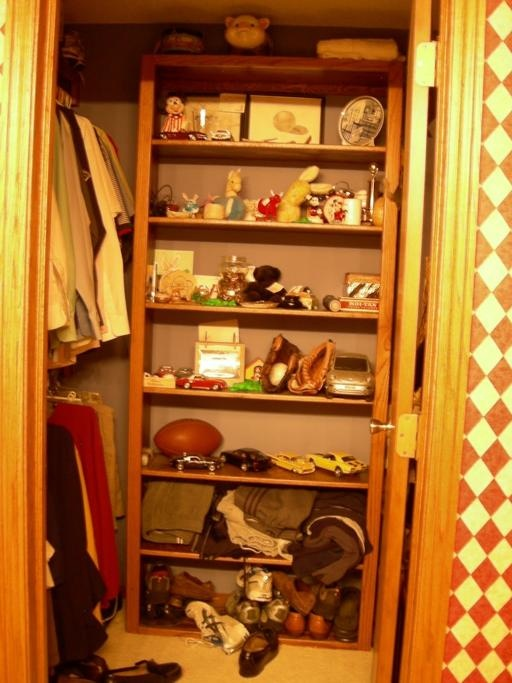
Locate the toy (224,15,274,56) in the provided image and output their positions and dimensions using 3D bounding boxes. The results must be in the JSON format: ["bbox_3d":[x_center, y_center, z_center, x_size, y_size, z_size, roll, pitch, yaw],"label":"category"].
[{"bbox_3d":[-0.036,-1.228,2.375,0.129,0.106,0.191,1,35,0],"label":"toy"}]

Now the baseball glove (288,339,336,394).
[{"bbox_3d":[0.235,0.116,2.464,0.156,0.233,0.082,25,2,40],"label":"baseball glove"}]

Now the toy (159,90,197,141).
[{"bbox_3d":[-0.331,-0.936,2.533,0.146,0.219,0.302,3,4,-11],"label":"toy"}]

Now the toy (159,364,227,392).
[{"bbox_3d":[-0.272,0.162,2.510,0.231,0.066,0.121,4,3,3],"label":"toy"}]

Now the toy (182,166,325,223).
[{"bbox_3d":[0.047,-0.588,2.522,0.723,0.291,0.254,-1,9,1],"label":"toy"}]

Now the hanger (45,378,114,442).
[{"bbox_3d":[-0.755,0.257,2.459,0.307,0.197,0.306,4,5,17],"label":"hanger"}]

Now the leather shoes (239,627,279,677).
[{"bbox_3d":[0.004,1.186,2.281,0.072,0.066,0.156,3,17,18],"label":"leather shoes"}]

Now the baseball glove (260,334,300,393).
[{"bbox_3d":[0.096,0.095,2.539,0.149,0.246,0.089,26,-39,-22],"label":"baseball glove"}]

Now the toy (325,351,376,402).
[{"bbox_3d":[0.389,0.138,2.465,0.192,0.167,0.242,4,4,8],"label":"toy"}]

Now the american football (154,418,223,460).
[{"bbox_3d":[-0.292,0.405,2.573,0.247,0.150,0.159,-2,32,-19],"label":"american football"}]
